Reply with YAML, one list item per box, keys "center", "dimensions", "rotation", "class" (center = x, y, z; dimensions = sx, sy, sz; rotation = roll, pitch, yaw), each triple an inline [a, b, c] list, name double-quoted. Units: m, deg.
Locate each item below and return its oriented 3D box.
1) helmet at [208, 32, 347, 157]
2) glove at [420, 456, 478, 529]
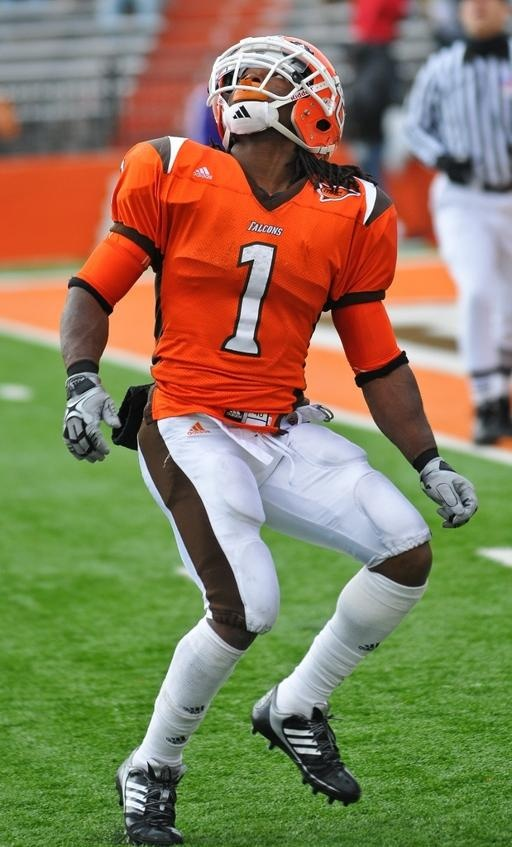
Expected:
- center: [0.049, -0.684, 1.897]
  dimensions: [0.238, 0.217, 0.304]
  rotation: [2, -5, 34]
  class: "helmet"
- center: [0.397, 0.147, 1.797]
  dimensions: [0.145, 0.107, 0.057]
  rotation: [51, -6, 34]
  class: "glove"
